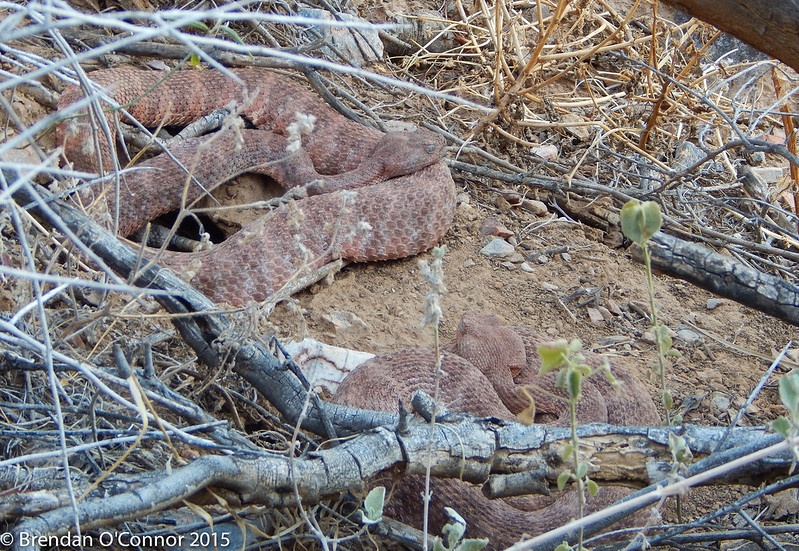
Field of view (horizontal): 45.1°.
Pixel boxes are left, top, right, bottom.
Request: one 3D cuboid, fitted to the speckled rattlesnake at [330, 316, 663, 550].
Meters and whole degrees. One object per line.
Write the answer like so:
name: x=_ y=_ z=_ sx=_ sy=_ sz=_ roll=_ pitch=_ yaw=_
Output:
speckled rattlesnake: x=0.481 y=0.749 z=5.377 sx=1.355 sy=0.355 sz=1.398 roll=-6 pitch=38 yaw=-17
